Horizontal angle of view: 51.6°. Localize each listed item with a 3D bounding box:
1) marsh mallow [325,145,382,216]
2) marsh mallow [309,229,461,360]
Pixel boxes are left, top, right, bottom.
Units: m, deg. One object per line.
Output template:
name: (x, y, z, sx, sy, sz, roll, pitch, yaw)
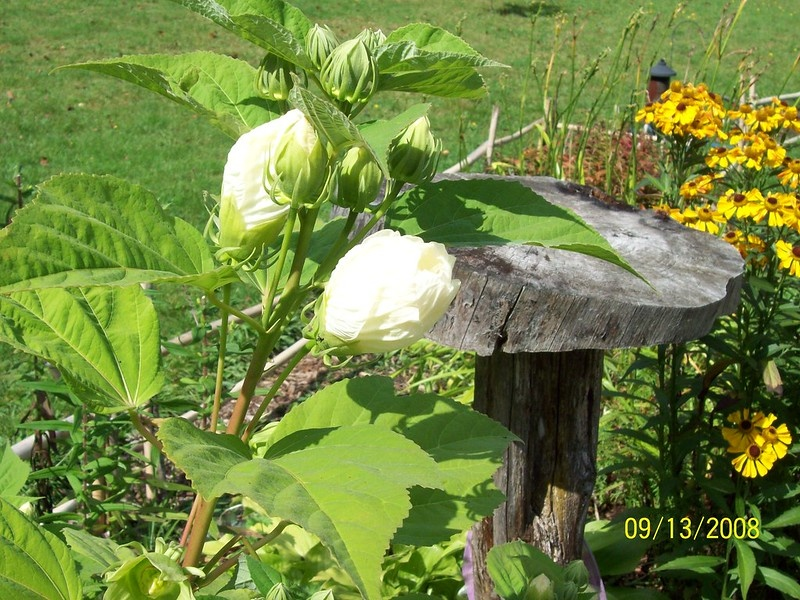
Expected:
marsh mallow: (-0.072, -0.193, 1.368, 0.071, 0.102, 0.072, 7, 25, 12)
marsh mallow: (-0.026, -0.007, 1.412, 0.162, 0.259, 0.143, 47, 10, 5)
